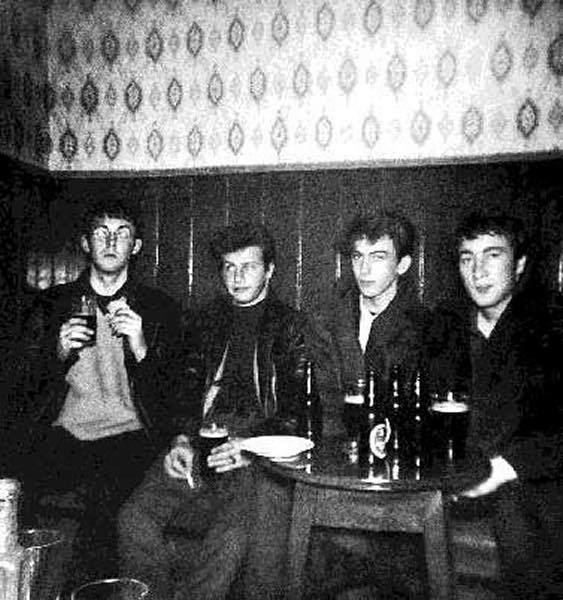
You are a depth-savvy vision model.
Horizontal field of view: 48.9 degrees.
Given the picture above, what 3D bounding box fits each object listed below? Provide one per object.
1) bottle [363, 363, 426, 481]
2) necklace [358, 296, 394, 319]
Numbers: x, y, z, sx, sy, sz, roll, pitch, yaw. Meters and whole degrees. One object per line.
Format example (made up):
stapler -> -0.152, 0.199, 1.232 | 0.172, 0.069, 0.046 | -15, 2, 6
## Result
bottle -> 0.344, 0.382, 1.904 | 0.190, 0.323, 0.177 | 0, 7, 0
necklace -> 0.284, 0.031, 2.003 | 0.066, 0.067, 0.077 | 2, 2, 10
